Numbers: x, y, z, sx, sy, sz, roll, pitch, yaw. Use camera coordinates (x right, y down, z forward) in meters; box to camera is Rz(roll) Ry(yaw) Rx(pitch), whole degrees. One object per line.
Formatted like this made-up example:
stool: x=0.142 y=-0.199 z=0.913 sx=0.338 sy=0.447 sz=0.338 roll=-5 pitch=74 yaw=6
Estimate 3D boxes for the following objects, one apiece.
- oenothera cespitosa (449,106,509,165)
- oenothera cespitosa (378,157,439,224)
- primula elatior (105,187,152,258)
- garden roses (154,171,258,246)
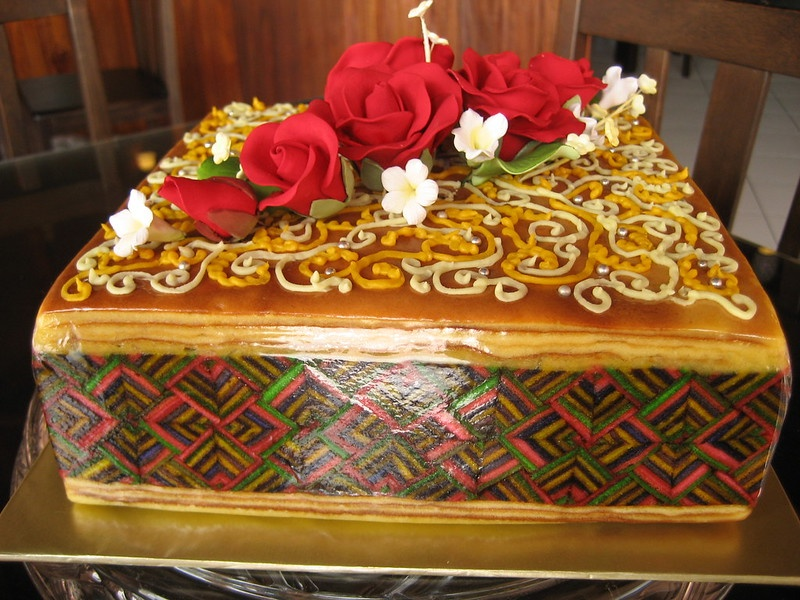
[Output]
oenothera cespitosa: x=0.131 y=-0.273 z=1.401 sx=0.119 sy=0.075 sz=0.087 roll=19 pitch=75 yaw=24
oenothera cespitosa: x=0.011 y=-0.176 z=1.367 sx=0.135 sy=0.078 sz=0.162 roll=-9 pitch=26 yaw=-16
primula elatior: x=-0.421 y=-0.124 z=1.326 sx=0.092 sy=0.095 sz=0.092 roll=-7 pitch=32 yaw=-11
garden roses: x=-0.280 y=-0.164 z=1.391 sx=0.212 sy=0.094 sz=0.139 roll=19 pitch=31 yaw=33
